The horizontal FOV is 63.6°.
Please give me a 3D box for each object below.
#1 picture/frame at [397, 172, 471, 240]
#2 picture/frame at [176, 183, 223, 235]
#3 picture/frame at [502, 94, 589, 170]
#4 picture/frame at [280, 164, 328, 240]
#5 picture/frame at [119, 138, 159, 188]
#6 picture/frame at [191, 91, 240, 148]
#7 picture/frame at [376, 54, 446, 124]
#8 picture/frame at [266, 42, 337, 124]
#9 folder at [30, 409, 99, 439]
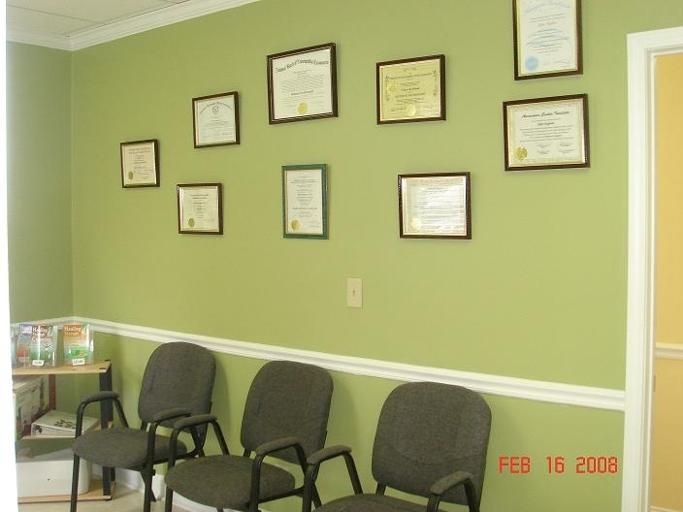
[{"bbox_3d":[0.459,-0.245,2.648,0.289,0.282,0.030,2,7,28],"label":"picture/frame"},{"bbox_3d":[-0.868,-0.287,3.384,0.357,0.308,0.045,1,3,33],"label":"picture/frame"},{"bbox_3d":[0.905,-0.544,2.401,0.312,0.303,0.022,2,6,28],"label":"picture/frame"},{"bbox_3d":[-0.192,-0.300,2.998,0.360,0.546,0.038,2,5,31],"label":"picture/frame"},{"bbox_3d":[-1.330,-0.604,3.637,0.344,0.307,0.030,1,3,31],"label":"picture/frame"},{"bbox_3d":[-0.737,-0.816,3.280,0.322,0.322,0.024,1,3,34],"label":"picture/frame"},{"bbox_3d":[0.350,-0.816,2.676,0.323,0.309,0.023,1,5,27],"label":"picture/frame"},{"bbox_3d":[-0.198,-0.935,2.962,0.423,0.397,0.043,2,6,34],"label":"picture/frame"},{"bbox_3d":[-1.816,1.099,3.548,0.227,0.065,0.246,2,-2,-12],"label":"folder"}]
